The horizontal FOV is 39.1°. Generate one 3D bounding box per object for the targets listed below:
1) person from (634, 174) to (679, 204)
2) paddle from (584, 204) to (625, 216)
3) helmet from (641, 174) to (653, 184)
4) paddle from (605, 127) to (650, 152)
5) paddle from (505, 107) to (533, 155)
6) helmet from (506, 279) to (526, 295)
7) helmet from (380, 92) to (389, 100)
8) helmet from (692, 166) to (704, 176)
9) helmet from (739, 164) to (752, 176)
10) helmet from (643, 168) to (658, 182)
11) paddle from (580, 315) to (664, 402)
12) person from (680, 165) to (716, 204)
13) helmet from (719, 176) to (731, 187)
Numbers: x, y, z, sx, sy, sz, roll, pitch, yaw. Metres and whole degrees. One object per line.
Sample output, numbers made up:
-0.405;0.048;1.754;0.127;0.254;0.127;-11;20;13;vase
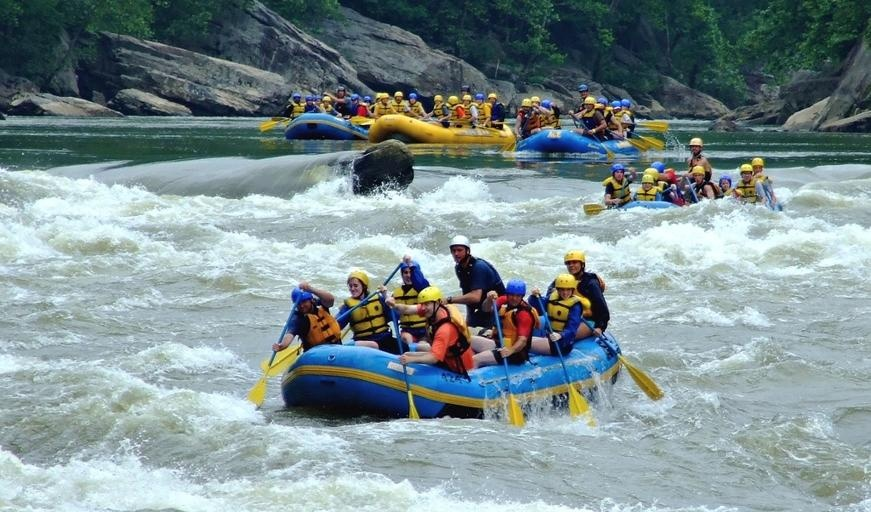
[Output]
6.392;-1.915;35.674;1.076;0.370;1.083;-1;-1;15;person
4.807;-1.326;35.383;1.032;0.311;0.726;-1;9;-18;paddle
6.118;-2.201;35.291;0.314;0.233;0.279;3;9;10;helmet
7.579;-4.316;46.871;0.783;0.504;2.540;-11;-15;30;paddle
3.227;-4.844;47.791;0.838;2.139;0.463;24;-20;8;paddle
1.811;0.703;27.453;0.422;0.365;0.567;2;9;1;helmet
-2.110;-6.756;51.846;0.490;0.211;0.607;-3;-9;-5;helmet
7.694;-2.477;35.843;0.392;0.245;0.225;-2;10;-20;helmet
9.112;-2.520;35.819;0.381;0.308;0.434;1;-10;2;helmet
6.273;-2.347;35.572;0.406;0.338;0.501;0;-11;13;helmet
4.241;2.442;28.050;3.001;0.546;0.427;38;21;26;paddle
7.767;-2.054;35.732;0.956;1.084;1.234;3;10;10;person
8.618;-2.181;36.555;0.398;0.151;0.442;0;-5;1;helmet
